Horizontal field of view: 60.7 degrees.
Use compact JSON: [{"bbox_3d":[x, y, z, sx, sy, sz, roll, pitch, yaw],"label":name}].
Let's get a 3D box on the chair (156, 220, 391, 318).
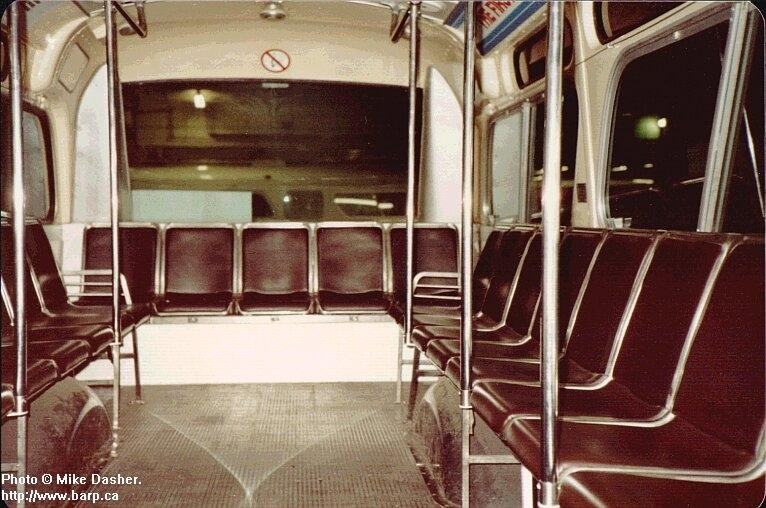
[{"bbox_3d":[-0.911,0.088,5.358,1.916,0.637,0.846,0,11,-5],"label":"chair"}]
